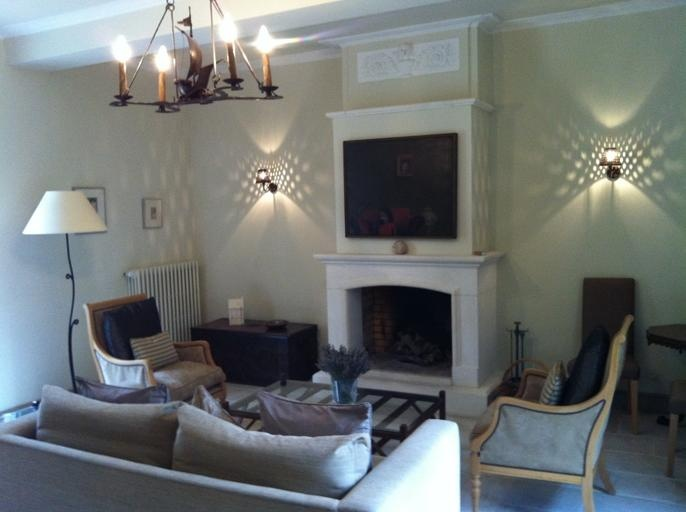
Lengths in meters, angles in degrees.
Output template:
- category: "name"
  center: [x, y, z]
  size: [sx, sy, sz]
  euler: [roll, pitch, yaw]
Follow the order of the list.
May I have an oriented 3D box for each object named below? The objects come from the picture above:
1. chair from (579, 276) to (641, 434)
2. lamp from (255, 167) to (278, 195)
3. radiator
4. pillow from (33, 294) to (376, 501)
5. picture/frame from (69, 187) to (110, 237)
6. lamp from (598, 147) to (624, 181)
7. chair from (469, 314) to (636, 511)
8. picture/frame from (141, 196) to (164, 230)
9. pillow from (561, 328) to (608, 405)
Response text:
- category: "chair"
  center: [2.294, 0.841, 5.080]
  size: [0.548, 1.192, 0.679]
  euler: [-1, 7, 23]
- category: "lamp"
  center: [-0.894, -0.854, 6.623]
  size: [0.301, 0.295, 0.116]
  euler: [1, 4, 31]
- category: "radiator"
  center: [-1.944, 0.454, 6.172]
  size: [0.149, 0.848, 0.876]
  euler: [0, 4, 29]
- category: "pillow"
  center: [-0.629, 0.845, 3.247]
  size: [1.670, 1.190, 1.226]
  euler: [1, 2, 24]
- category: "picture/frame"
  center: [-2.431, -0.429, 5.541]
  size: [0.022, 0.686, 0.486]
  euler: [1, 3, 27]
- category: "lamp"
  center: [2.411, -0.828, 5.236]
  size: [0.188, 0.304, 0.097]
  euler: [1, 4, 25]
- category: "chair"
  center: [1.505, 0.981, 4.236]
  size: [1.041, 1.528, 1.082]
  euler: [1, -2, 24]
- category: "picture/frame"
  center: [-2.162, -0.490, 6.568]
  size: [0.056, 0.454, 0.371]
  euler: [-1, 1, 32]
- category: "pillow"
  center: [1.528, 0.678, 3.650]
  size: [0.121, 0.431, 0.418]
  euler: [10, 0, 19]
